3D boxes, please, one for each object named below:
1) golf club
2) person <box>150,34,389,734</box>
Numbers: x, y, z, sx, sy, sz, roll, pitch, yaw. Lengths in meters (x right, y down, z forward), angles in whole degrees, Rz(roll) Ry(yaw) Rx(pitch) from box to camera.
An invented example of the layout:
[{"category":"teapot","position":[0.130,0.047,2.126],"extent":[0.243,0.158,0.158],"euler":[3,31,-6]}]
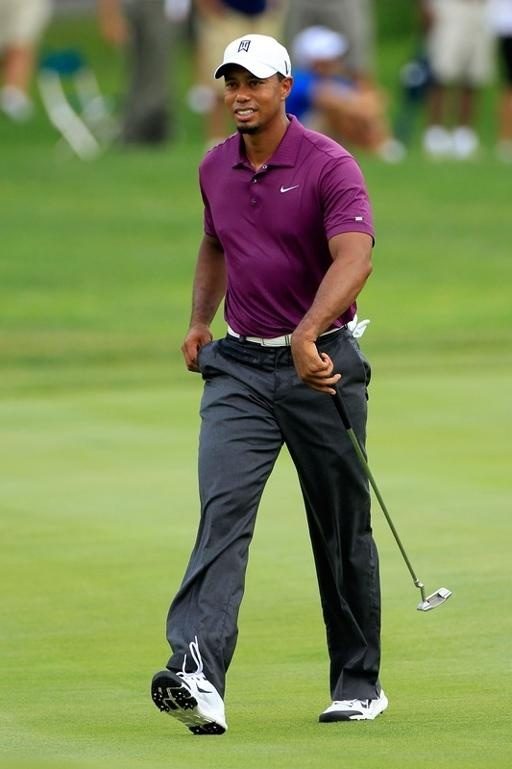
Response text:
[{"category":"golf club","position":[0.383,0.333,2.585],"extent":[0.104,0.858,0.181],"euler":[-35,34,-12]},{"category":"person","position":[0.050,-0.004,2.594],"extent":[0.771,1.671,0.732],"euler":[-5,7,-43]}]
